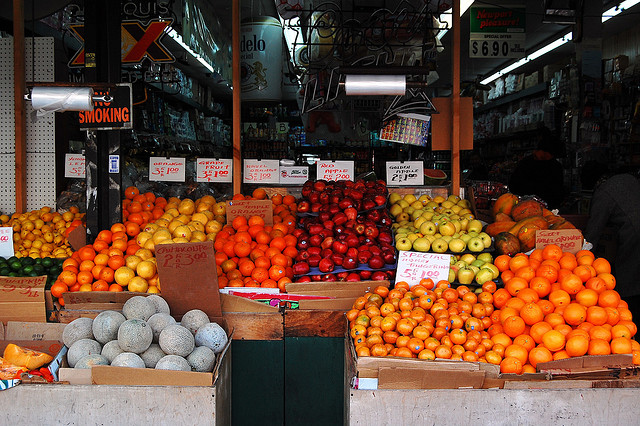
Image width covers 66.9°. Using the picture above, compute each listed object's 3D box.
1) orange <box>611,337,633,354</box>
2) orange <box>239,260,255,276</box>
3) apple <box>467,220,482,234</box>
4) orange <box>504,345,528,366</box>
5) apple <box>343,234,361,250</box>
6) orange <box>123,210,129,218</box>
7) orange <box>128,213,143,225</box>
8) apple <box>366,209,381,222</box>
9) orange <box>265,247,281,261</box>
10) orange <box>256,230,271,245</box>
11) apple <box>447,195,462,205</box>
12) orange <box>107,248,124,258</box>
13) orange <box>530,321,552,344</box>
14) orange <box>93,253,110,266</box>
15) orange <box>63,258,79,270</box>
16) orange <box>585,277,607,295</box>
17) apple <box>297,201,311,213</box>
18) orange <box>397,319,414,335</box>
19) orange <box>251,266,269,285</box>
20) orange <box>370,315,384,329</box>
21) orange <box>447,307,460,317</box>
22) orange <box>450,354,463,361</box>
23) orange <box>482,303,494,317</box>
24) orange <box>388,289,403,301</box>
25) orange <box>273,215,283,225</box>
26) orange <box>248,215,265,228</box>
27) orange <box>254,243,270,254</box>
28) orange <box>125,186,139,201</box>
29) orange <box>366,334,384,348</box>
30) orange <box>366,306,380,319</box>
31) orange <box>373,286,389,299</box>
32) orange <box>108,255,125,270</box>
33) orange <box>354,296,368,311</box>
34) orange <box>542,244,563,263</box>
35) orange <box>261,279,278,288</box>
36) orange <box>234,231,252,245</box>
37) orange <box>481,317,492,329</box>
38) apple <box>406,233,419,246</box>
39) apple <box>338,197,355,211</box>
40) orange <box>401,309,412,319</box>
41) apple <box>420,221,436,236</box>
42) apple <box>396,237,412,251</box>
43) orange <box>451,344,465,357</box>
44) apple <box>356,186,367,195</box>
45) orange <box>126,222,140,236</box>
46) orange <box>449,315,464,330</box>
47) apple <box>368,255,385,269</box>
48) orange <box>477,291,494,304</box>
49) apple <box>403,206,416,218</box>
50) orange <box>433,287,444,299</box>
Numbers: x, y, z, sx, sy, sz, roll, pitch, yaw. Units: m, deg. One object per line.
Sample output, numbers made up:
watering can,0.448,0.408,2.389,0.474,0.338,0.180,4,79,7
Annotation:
orange,1.839,0.814,2.961,0.093,0.099,0.096,-4,-40,24
orange,-0.582,0.431,3.876,0.107,0.109,0.108,40,-8,6
apple,1.283,0.113,4.042,0.080,0.089,0.112,-7,11,10
orange,1.193,0.852,2.973,0.115,0.117,0.115,-10,-39,7
apple,0.257,0.237,3.895,0.092,0.101,0.097,-23,-16,26
orange,-1.781,0.004,4.439,0.048,0.048,0.046,-46,9,-20
orange,-1.645,0.048,4.343,0.116,0.102,0.101,-6,27,3
apple,0.456,0.021,4.142,0.094,0.098,0.099,-2,-40,-1
orange,-0.384,0.327,3.881,0.086,0.092,0.103,1,5,-8
orange,-0.475,0.200,4.033,0.120,0.106,0.103,0,5,-8
apple,1.267,-0.134,4.604,0.093,0.054,0.097,2,10,-1
orange,-1.637,0.312,3.860,0.072,0.080,0.090,7,17,1
orange,1.367,0.762,3.046,0.120,0.127,0.123,25,-27,-32
orange,-1.731,0.365,3.825,0.092,0.096,0.113,-22,2,10
orange,-1.973,0.388,3.828,0.091,0.079,0.079,38,18,-27
orange,1.834,0.477,3.260,0.108,0.111,0.114,-26,-11,20
apple,-0.147,-0.052,4.321,0.123,0.094,0.072,2,6,11
orange,0.535,0.717,3.048,0.085,0.088,0.082,11,13,29
orange,-0.470,0.477,3.768,0.111,0.117,0.113,-10,-22,-3
orange,0.354,0.697,3.122,0.063,0.036,0.062,15,44,37
orange,0.864,0.642,3.157,0.045,0.057,0.048,0,-41,0
orange,0.827,0.865,2.919,0.037,0.038,0.037,9,1,-14
orange,1.116,0.653,3.271,0.067,0.069,0.067,-31,-5,-16
orange,0.524,0.558,3.373,0.064,0.067,0.067,8,18,32
orange,-0.390,0.063,4.397,0.063,0.068,0.084,-8,3,-3
orange,-0.564,0.067,4.225,0.097,0.120,0.102,-6,-34,0
orange,-0.482,0.292,3.959,0.070,0.087,0.069,18,-19,-37
orange,-1.812,-0.195,4.684,0.122,0.128,0.122,-11,45,-18
orange,0.331,0.792,3.022,0.076,0.082,0.093,6,37,-35
orange,0.357,0.653,3.185,0.066,0.070,0.065,0,-22,2
orange,0.436,0.568,3.471,0.103,0.075,0.106,1,6,9
orange,-1.590,0.382,3.766,0.130,0.100,0.074,1,5,5
orange,0.287,0.635,3.421,0.073,0.078,0.094,0,45,1
orange,1.673,0.287,3.497,0.114,0.121,0.118,1,20,39
orange,-0.394,0.543,3.716,0.070,0.075,0.070,13,-3,-3
orange,-0.644,0.194,4.056,0.105,0.106,0.103,35,4,-6
orange,1.087,0.721,3.179,0.056,0.060,0.058,0,3,-2
apple,0.749,0.211,3.942,0.099,0.081,0.053,6,8,44
apple,0.215,-0.073,4.161,0.111,0.092,0.086,-8,-18,8
orange,0.554,0.653,3.181,0.050,0.071,0.051,2,21,-45
apple,0.883,0.125,4.037,0.101,0.105,0.101,-14,-1,-27
apple,0.677,0.252,3.934,0.099,0.103,0.104,7,-33,25
orange,0.838,0.834,2.938,0.055,0.057,0.054,2,-25,-6
apple,0.372,-0.209,4.378,0.074,0.041,0.075,14,15,11
orange,-1.615,0.139,4.163,0.101,0.103,0.159,-4,7,-41
orange,0.854,0.693,3.087,0.079,0.083,0.077,0,-26,-5
apple,0.436,0.385,3.785,0.095,0.098,0.105,17,-19,6
orange,1.131,0.577,3.312,0.068,0.068,0.070,-4,3,-18
apple,0.801,-0.016,4.408,0.087,0.108,0.086,-4,13,-39
orange,0.826,0.553,3.380,0.056,0.071,0.059,5,43,2
